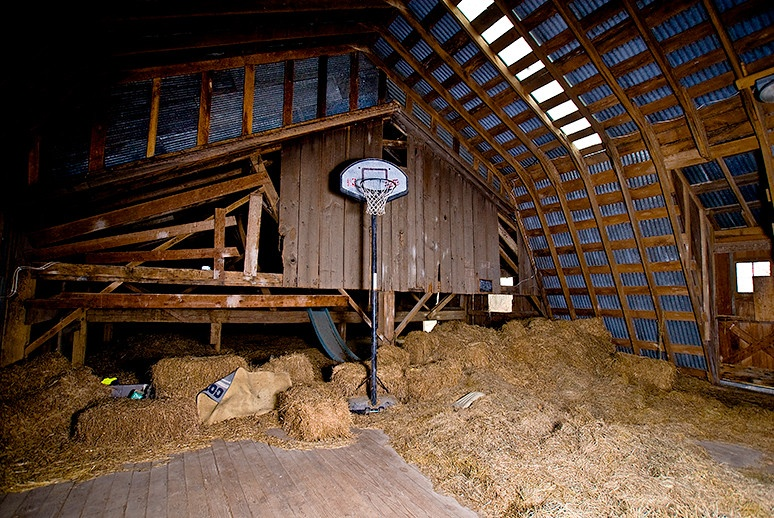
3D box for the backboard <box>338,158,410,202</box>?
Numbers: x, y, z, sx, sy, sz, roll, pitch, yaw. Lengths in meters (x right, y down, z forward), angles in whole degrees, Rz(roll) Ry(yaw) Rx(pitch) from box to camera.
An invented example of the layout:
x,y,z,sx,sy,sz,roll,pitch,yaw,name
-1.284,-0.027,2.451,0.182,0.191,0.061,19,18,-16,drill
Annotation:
x,y,z,sx,sy,sz,roll,pitch,yaw,name
-0.288,-1.400,8.766,0.997,0.667,0.039,2,-12,-25,backboard
